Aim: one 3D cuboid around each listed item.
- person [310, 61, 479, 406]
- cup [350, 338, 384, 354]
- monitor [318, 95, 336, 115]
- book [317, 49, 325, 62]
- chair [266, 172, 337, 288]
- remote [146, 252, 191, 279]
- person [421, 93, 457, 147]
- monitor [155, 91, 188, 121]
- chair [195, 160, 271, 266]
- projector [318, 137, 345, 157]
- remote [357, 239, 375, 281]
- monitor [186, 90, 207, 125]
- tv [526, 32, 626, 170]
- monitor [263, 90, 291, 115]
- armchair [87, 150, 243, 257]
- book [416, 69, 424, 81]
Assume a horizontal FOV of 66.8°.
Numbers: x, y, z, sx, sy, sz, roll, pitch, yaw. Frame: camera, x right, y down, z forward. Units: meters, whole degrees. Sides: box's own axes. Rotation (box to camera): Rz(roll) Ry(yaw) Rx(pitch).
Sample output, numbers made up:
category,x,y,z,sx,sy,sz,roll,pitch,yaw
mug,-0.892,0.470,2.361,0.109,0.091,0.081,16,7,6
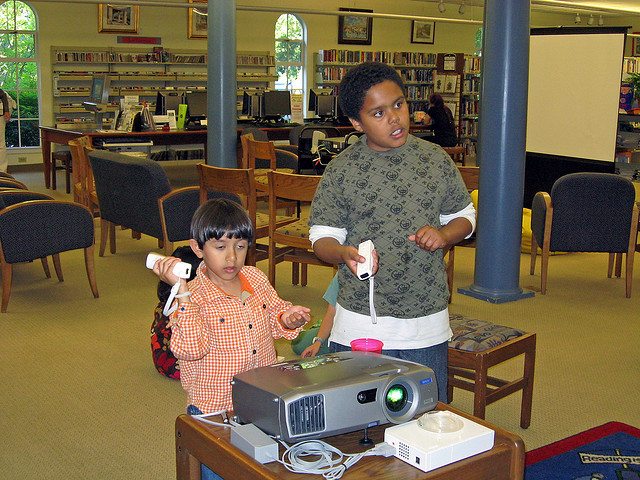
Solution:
category,x,y,z,sx,sy,sz,roll,pitch,yaw
person,0.201,0.013,1.424,0.466,1.048,0.435,5,16,16
cup,0.115,0.262,1.177,0.074,0.030,0.067,0,15,-2
monitor,0.138,-2.993,10.749,0.434,0.384,0.227,-7,12,-34
book,0.031,-4.686,12.335,0.195,0.308,0.334,-3,4,-9
chair,-0.266,-0.027,4.171,0.705,0.937,0.697,1,-2,-9
remote,-0.354,0.061,1.190,0.117,0.052,0.026,16,12,4
person,2.539,-2.578,10.372,0.764,1.086,0.875,-20,25,-35
monitor,-2.752,-2.495,9.121,0.624,0.463,0.674,-6,16,-22
chair,-0.665,-0.173,4.490,0.884,0.997,0.782,5,11,2
projector,0.145,-1.188,6.261,0.344,0.207,0.693,1,15,1
remote,0.122,0.053,1.268,0.045,0.024,0.103,-16,41,31
monitor,-2.449,-2.667,9.629,0.336,0.535,0.556,-2,15,-7
tv,3.013,-1.808,5.867,0.065,1.461,1.443,-17,25,-17
monitor,-0.907,-2.848,10.082,0.561,0.380,0.075,-8,16,-32
armchair,-1.525,-0.439,5.126,1.180,1.319,1.228,10,16,30
book,2.759,-4.528,13.462,0.252,0.319,0.244,3,20,8
